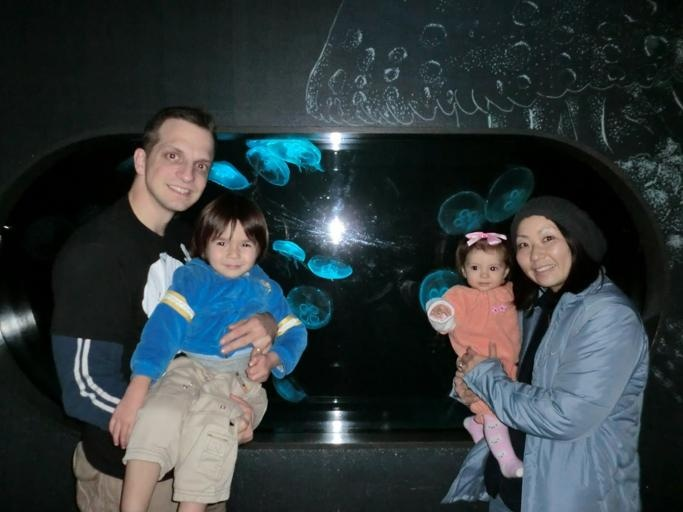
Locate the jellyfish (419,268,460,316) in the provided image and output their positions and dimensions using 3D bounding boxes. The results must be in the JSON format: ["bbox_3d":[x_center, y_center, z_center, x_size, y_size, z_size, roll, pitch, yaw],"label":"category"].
[{"bbox_3d":[0.705,0.247,4.099,0.290,0.298,0.067,-12,-3,-5],"label":"jellyfish"}]

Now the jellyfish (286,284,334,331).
[{"bbox_3d":[-0.235,0.373,4.345,0.336,0.343,0.100,0,-20,5],"label":"jellyfish"}]

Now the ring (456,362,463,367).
[{"bbox_3d":[0.674,0.607,3.248,0.016,0.031,0.043,8,-3,-13],"label":"ring"}]

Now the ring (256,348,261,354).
[{"bbox_3d":[-0.436,0.498,3.024,0.020,0.028,0.008,-6,36,-9],"label":"ring"}]
